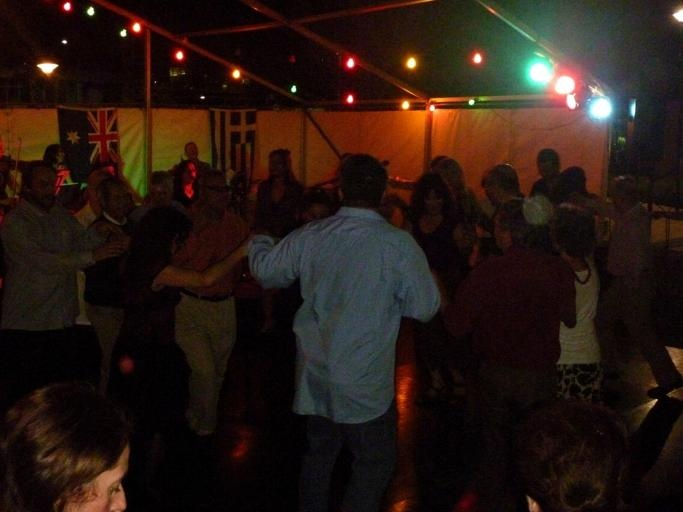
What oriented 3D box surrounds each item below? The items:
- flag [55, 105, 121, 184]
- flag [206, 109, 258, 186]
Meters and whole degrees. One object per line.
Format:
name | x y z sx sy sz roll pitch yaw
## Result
flag | -4.036 -1.887 9.713 0.969 0.035 1.392 -6 60 -19
flag | -1.898 -1.882 10.557 0.786 1.632 0.094 -2 -21 -9
